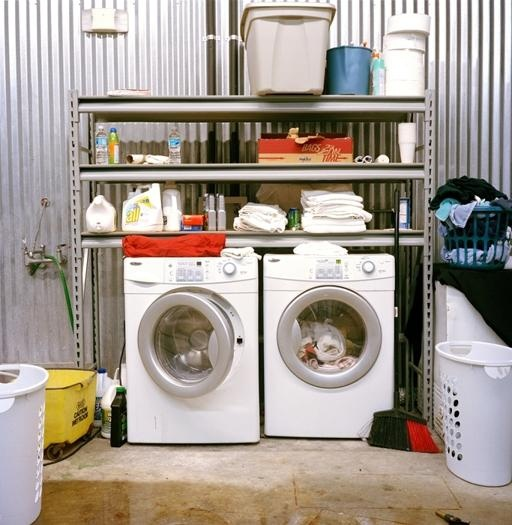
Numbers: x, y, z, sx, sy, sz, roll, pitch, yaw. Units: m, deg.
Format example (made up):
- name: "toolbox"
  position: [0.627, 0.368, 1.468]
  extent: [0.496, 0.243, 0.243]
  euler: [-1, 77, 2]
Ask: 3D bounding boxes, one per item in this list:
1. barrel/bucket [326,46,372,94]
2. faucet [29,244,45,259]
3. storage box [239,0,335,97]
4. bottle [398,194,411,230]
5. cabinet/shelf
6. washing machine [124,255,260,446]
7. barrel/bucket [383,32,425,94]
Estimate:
- name: "barrel/bucket"
  position: [0.516, -1.025, 3.869]
  extent: [0.193, 0.236, 0.253]
  euler: [1, -6, 5]
- name: "faucet"
  position: [-1.389, -0.068, 4.413]
  extent: [0.097, 0.080, 0.048]
  euler: [-3, 13, -9]
- name: "storage box"
  position: [0.175, -1.152, 3.745]
  extent: [0.347, 0.422, 0.494]
  euler: [0, 4, -1]
- name: "bottle"
  position: [0.856, -0.284, 3.973]
  extent: [0.083, 0.177, 0.044]
  euler: [0, 1, 5]
- name: "cabinet/shelf"
  position: [0.031, -0.020, 3.832]
  extent: [1.349, 1.924, 0.504]
  euler: [-1, -1, -2]
- name: "washing machine"
  position: [-0.345, 0.430, 3.907]
  extent: [0.693, 1.405, 0.811]
  euler: [0, -4, -2]
- name: "barrel/bucket"
  position: [0.825, -1.092, 3.932]
  extent: [0.228, 0.367, 0.279]
  euler: [-1, 2, 1]
